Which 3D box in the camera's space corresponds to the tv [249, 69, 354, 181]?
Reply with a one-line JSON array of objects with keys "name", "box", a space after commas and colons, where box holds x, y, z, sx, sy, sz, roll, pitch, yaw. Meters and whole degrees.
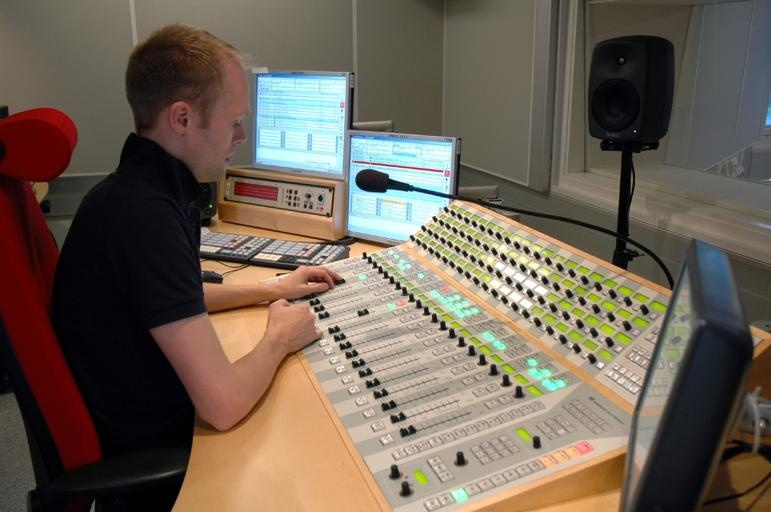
[{"name": "tv", "box": [-0.409, -0.658, 2.671, 0.534, 0.457, 0.056, 12, 18, 20]}]

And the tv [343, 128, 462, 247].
[{"name": "tv", "box": [0.075, -0.296, 2.361, 0.499, 0.456, 0.051, 11, 15, 35]}]

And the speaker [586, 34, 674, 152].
[{"name": "speaker", "box": [1.016, -0.679, 2.210, 0.319, 0.429, 0.231, 6, 22, 26]}]
